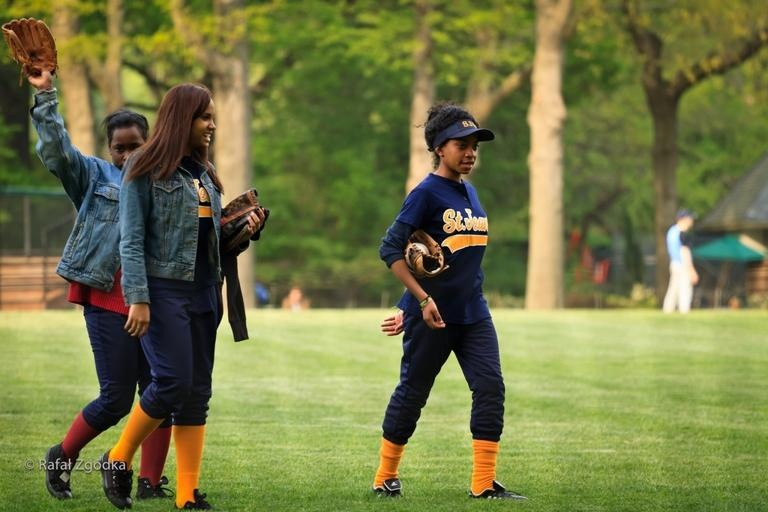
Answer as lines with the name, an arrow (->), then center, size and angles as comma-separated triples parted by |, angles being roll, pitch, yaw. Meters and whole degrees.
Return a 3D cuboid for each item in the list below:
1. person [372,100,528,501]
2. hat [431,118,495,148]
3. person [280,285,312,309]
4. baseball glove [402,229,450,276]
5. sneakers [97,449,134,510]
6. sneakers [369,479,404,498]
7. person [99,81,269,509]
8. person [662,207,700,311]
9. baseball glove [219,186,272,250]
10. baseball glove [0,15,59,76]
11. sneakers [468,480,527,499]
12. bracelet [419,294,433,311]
person -> 0.484, 0.340, 12.964 | 1.117, 3.204, 0.977 | 0, 9, -1
hat -> 0.651, -1.044, 12.998 | 0.347, 0.128, 0.255 | -21, -11, 29
person -> -1.945, 0.864, 33.080 | 0.492, 0.756, 0.781 | 1, -8, -1
baseball glove -> 0.319, -0.036, 12.871 | 0.394, 0.284, 0.156 | 30, 43, 24
sneakers -> -2.206, 1.838, 12.720 | 0.220, 0.492, 0.172 | -24, -21, 15
sneakers -> 0.049, 1.919, 12.879 | 0.131, 0.097, 0.206 | 4, -7, -33
person -> -1.720, 0.318, 12.662 | 1.258, 3.441, 0.683 | -3, 10, -18
person -> 2.368, 0.029, 12.340 | 0.258, 0.798, 0.165 | 1, 9, 10
baseball glove -> -1.149, -0.254, 12.993 | 0.481, 0.463, 0.195 | -29, -24, 32
baseball glove -> -2.944, -1.739, 12.753 | 0.416, 0.509, 0.220 | 1, -32, -40
sneakers -> 0.943, 1.908, 12.805 | 0.504, 0.171, 0.163 | 0, -3, 2
bracelet -> 0.344, 0.367, 12.832 | 0.120, 0.085, 0.135 | -23, 5, 34
